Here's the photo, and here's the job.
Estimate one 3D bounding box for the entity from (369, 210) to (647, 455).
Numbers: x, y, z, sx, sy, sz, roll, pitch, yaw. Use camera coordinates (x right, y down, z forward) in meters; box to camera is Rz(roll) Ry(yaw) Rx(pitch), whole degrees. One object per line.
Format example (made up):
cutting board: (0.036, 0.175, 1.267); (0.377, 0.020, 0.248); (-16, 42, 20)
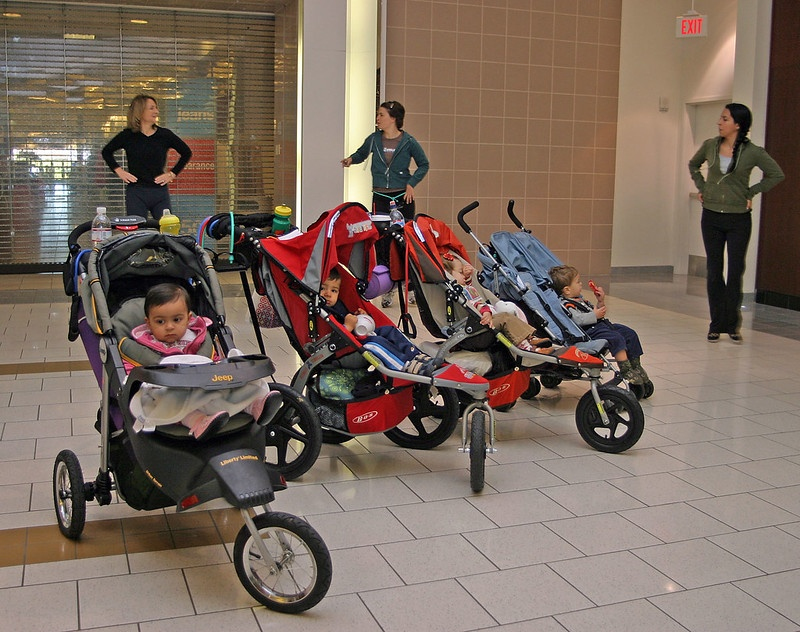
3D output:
entity: (0.503, -0.006, 3.718); (1.762, 1.182, 1.027); (15, 15, 35)

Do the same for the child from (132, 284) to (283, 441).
child: (-0.725, 0.120, 2.305); (0.446, 0.399, 0.728); (-4, 13, -26)

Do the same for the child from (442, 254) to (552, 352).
child: (0.524, -0.040, 3.484); (0.788, 0.402, 0.241); (13, 18, 12)

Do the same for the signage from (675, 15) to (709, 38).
signage: (3.300, -3.261, 7.395); (0.303, 0.215, 0.141); (7, 13, 25)

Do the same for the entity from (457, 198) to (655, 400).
entity: (1.053, -0.150, 4.526); (1.493, 1.738, 0.975); (1, 5, 23)

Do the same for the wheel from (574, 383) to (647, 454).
wheel: (1.132, 0.556, 3.518); (0.354, 0.353, 0.130); (4, 7, 23)

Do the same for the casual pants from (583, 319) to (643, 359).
casual pants: (1.270, 0.144, 4.019); (0.350, 0.140, 0.212); (25, 21, 36)

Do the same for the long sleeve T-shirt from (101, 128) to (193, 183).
long sleeve T-shirt: (-2.208, -1.393, 5.728); (0.767, 0.498, 0.246); (0, 11, -8)

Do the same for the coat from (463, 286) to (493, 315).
coat: (0.409, -0.082, 3.467); (0.160, 0.049, 0.160); (41, 22, 3)

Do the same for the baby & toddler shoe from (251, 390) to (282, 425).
baby & toddler shoe: (-0.446, 0.293, 2.186); (0.074, 0.131, 0.049); (33, -6, -36)

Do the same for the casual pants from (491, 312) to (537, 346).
casual pants: (0.593, 0.059, 3.418); (0.140, 0.216, 0.080); (-41, -9, -21)

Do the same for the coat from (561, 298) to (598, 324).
coat: (1.091, -0.029, 3.957); (0.185, 0.061, 0.163); (33, 23, 4)

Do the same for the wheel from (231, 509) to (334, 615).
wheel: (-0.410, 0.744, 2.196); (0.282, 0.363, 0.487); (-2, 12, -15)

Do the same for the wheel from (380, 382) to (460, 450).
wheel: (0.101, 0.499, 3.330); (0.363, 0.362, 0.070); (10, 21, 27)

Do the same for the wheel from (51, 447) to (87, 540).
wheel: (-1.290, 0.698, 2.551); (0.072, 0.247, 0.242); (-7, -26, -31)

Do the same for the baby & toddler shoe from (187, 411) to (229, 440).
baby & toddler shoe: (-0.603, 0.332, 2.043); (0.071, 0.104, 0.037); (50, 6, 12)

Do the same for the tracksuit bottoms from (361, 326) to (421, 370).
tracksuit bottoms: (-0.040, 0.154, 3.181); (0.206, 0.069, 0.206); (34, 24, 6)

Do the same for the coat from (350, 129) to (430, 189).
coat: (-0.148, -1.642, 6.906); (1.022, 0.720, 0.404); (3, 11, 2)
